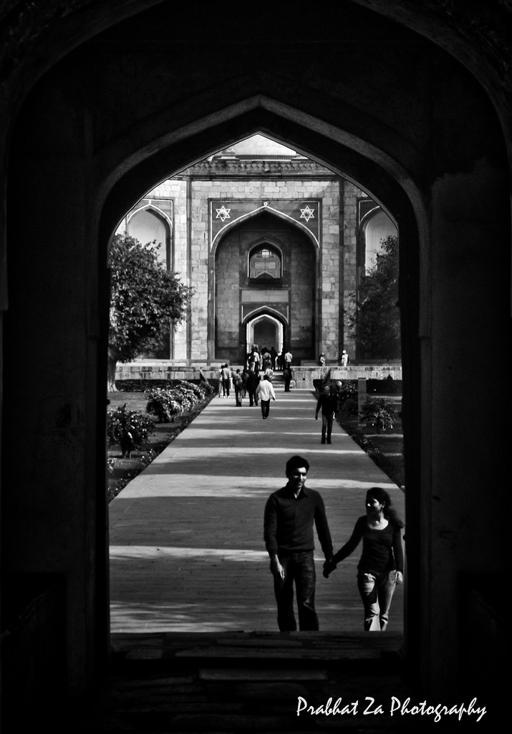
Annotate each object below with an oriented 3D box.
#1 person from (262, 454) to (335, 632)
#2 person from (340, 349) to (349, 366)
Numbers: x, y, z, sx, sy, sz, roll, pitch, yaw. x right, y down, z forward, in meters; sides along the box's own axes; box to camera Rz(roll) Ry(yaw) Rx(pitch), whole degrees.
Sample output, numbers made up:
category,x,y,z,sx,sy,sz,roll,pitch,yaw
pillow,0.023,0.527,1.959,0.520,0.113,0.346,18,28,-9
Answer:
category,x,y,z,sx,sy,sz,roll,pitch,yaw
person,0.210,0.878,5.305,0.353,0.897,0.370,1,2,-8
person,3.136,-0.320,37.829,0.362,0.326,0.898,-6,38,9
